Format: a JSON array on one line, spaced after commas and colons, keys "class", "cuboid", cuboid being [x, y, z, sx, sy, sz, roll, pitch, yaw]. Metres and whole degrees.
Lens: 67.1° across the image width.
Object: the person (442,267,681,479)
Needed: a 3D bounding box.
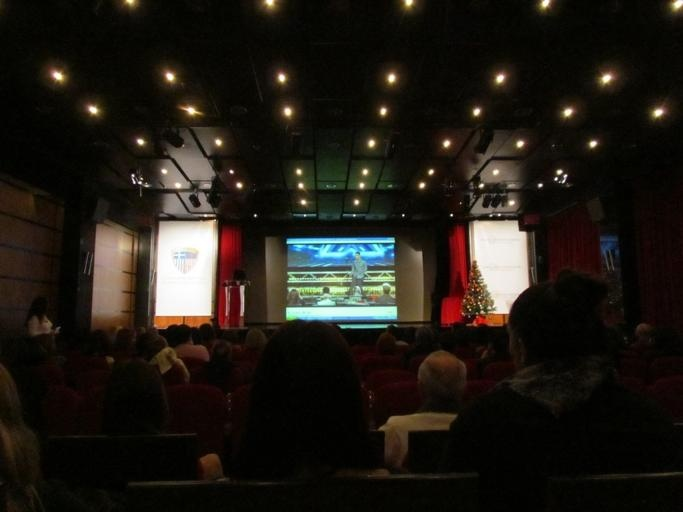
[{"class": "person", "cuboid": [0.758, 0.409, 1.893, 0.777, 0.711, 0.241, -3, -10, 10]}]
